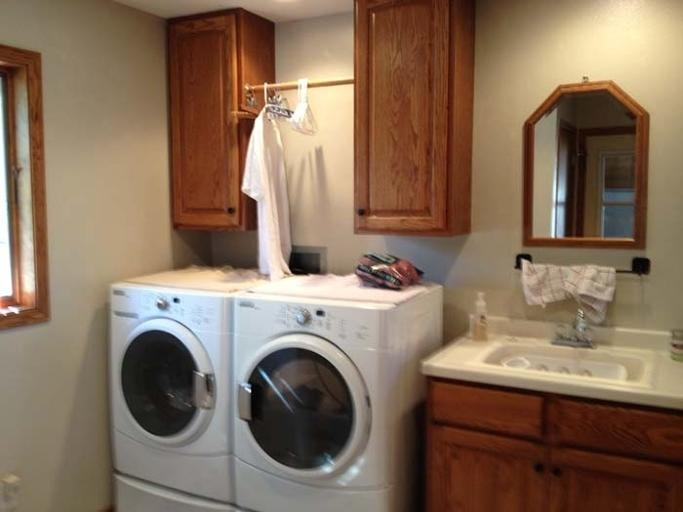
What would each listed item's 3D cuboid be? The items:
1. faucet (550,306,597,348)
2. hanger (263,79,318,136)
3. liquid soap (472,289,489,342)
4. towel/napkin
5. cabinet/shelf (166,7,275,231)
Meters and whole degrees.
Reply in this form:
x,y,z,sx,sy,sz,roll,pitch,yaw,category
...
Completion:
x,y,z,sx,sy,sz,roll,pitch,yaw,category
1.186,0.359,2.810,0.182,0.207,0.055,0,21,9,faucet
-0.298,-0.846,3.146,0.284,0.298,0.311,-3,7,-16,hanger
0.753,0.314,3.005,0.080,0.243,0.193,1,7,15,liquid soap
1.155,0.188,2.830,0.441,0.327,0.189,3,8,28,towel/napkin
-0.730,-0.811,3.357,0.664,1.290,0.394,-3,7,-13,cabinet/shelf
